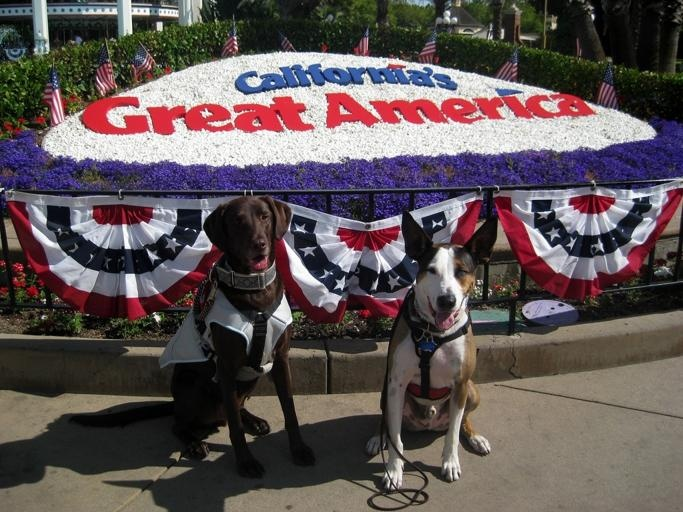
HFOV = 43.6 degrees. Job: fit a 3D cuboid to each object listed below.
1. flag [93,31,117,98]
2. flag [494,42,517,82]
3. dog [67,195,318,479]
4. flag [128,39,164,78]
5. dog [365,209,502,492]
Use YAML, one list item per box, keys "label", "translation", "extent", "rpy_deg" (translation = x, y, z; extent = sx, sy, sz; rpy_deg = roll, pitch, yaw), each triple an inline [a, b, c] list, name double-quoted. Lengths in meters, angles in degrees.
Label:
- label: "flag"
  translation: [-5.670, -4.454, 20.320]
  extent: [0.443, 1.369, 2.064]
  rpy_deg: [-4, 15, -15]
- label: "flag"
  translation: [4.410, -5.144, 22.917]
  extent: [0.524, 0.802, 1.053]
  rpy_deg: [2, 15, 8]
- label: "dog"
  translation: [-1.279, 0.547, 9.466]
  extent: [2.066, 3.270, 2.260]
  rpy_deg: [-6, 14, -43]
- label: "flag"
  translation: [-5.051, -4.913, 21.521]
  extent: [0.526, 1.071, 0.913]
  rpy_deg: [-11, -27, -2]
- label: "dog"
  translation: [0.899, 0.914, 8.543]
  extent: [1.211, 2.649, 0.812]
  rpy_deg: [0, 13, 2]
